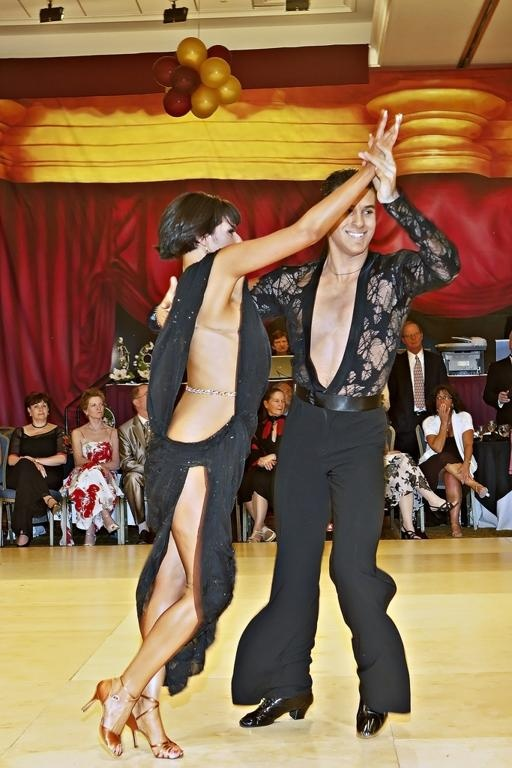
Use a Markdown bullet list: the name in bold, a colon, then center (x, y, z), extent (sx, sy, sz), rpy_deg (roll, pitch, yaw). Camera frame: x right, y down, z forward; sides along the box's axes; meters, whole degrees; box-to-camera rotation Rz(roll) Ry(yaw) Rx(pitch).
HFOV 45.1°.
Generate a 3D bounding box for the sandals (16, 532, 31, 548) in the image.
- **sandals**: center (-2.060, 1.369, 5.442), extent (0.105, 0.125, 0.137), rpy_deg (-4, 5, -21)

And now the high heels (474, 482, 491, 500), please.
- **high heels**: center (2.099, 0.993, 5.756), extent (0.174, 0.106, 0.070), rpy_deg (46, -24, -23)

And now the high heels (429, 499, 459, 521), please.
- **high heels**: center (1.726, 1.165, 5.689), extent (0.096, 0.130, 0.354), rpy_deg (14, 9, 41)

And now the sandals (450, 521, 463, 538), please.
- **sandals**: center (1.830, 1.321, 5.593), extent (0.081, 0.080, 0.229), rpy_deg (0, 5, 5)

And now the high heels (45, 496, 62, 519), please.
- **high heels**: center (-1.858, 1.144, 5.707), extent (0.161, 0.108, 0.431), rpy_deg (-24, -10, -17)

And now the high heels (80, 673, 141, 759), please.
- **high heels**: center (-0.326, 0.746, 1.388), extent (0.115, 0.231, 0.178), rpy_deg (-4, 5, -15)

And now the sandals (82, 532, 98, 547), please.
- **sandals**: center (-1.478, 1.378, 5.484), extent (0.101, 0.109, 0.285), rpy_deg (1, -8, -1)

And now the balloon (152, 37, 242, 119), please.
- **balloon**: center (-0.587, -2.992, 6.096), extent (0.835, 0.654, 0.445), rpy_deg (-2, 5, -6)

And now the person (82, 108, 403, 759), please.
- **person**: center (-0.086, 0.194, 1.493), extent (0.704, 1.364, 0.345), rpy_deg (-4, 6, -15)
